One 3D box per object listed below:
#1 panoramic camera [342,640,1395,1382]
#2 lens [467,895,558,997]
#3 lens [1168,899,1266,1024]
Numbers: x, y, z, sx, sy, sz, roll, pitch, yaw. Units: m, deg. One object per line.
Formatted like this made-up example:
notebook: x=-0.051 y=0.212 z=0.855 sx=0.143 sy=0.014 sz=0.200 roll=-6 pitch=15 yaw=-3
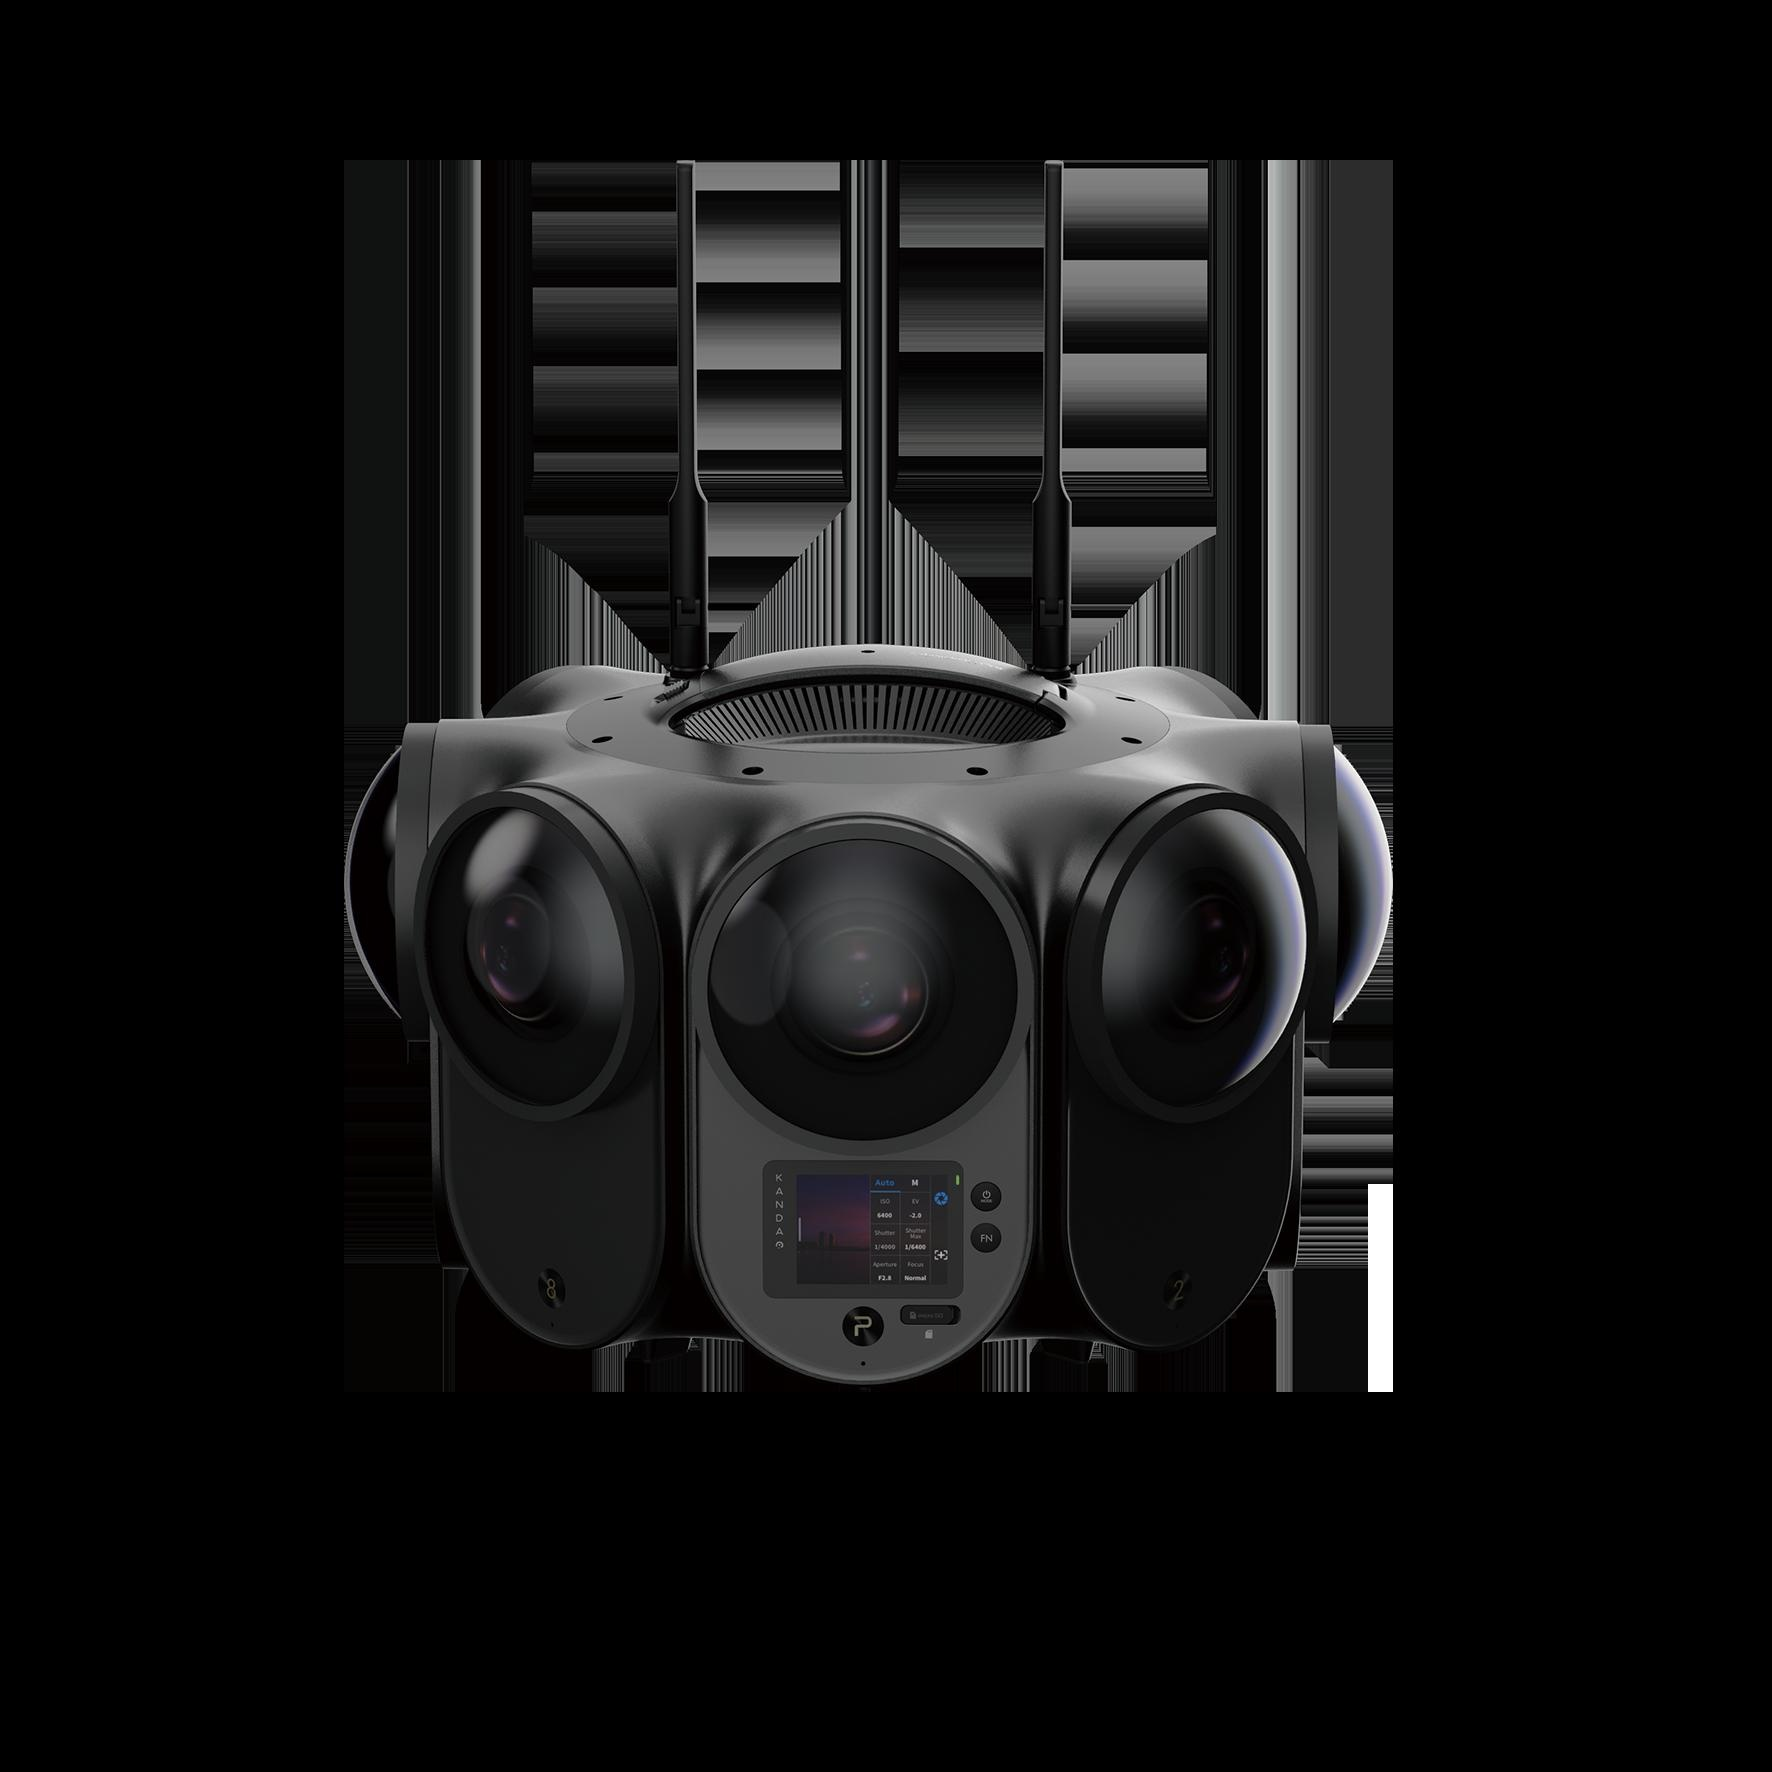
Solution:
panoramic camera: x=-0.011 y=0.107 z=1.690 sx=0.491 sy=0.605 sz=0.430 roll=0 pitch=-86 yaw=-1
lens: x=-0.271 y=0.043 z=1.442 sx=0.050 sy=0.019 sz=0.083 roll=-1 pitch=-86 yaw=24
lens: x=0.240 y=0.050 z=1.427 sx=0.058 sy=0.030 sz=0.093 roll=7 pitch=-84 yaw=1
